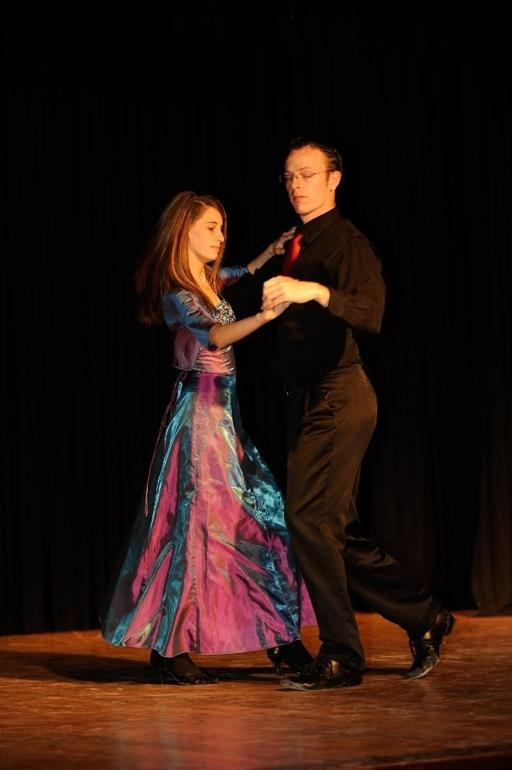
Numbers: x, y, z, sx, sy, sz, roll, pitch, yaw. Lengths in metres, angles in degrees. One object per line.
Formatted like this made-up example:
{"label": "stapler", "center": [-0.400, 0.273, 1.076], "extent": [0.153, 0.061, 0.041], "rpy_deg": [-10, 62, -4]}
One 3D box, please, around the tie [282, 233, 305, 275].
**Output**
{"label": "tie", "center": [0.110, -0.349, 2.162], "extent": [0.034, 0.146, 0.038], "rpy_deg": [12, -24, 23]}

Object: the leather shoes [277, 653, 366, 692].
{"label": "leather shoes", "center": [0.158, 0.662, 1.874], "extent": [0.208, 0.084, 0.074], "rpy_deg": [2, -11, -12]}

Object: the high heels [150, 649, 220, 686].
{"label": "high heels", "center": [-0.183, 0.696, 2.006], "extent": [0.199, 0.082, 0.065], "rpy_deg": [-11, -12, 42]}

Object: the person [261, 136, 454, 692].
{"label": "person", "center": [0.199, 0.027, 1.966], "extent": [0.374, 1.355, 0.608], "rpy_deg": [-5, -12, 26]}
